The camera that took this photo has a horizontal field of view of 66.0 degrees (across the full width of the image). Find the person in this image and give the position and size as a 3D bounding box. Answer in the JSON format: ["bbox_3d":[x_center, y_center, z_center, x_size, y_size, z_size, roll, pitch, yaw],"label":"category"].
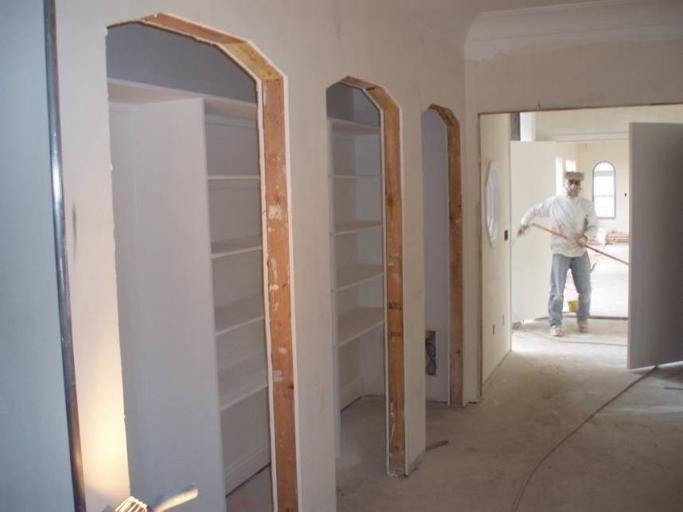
[{"bbox_3d":[2.758,-0.018,6.584,0.723,1.884,0.561,-6,9,-30],"label":"person"}]

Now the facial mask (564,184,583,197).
[{"bbox_3d":[2.896,-0.791,6.522,0.118,0.146,0.161,2,-18,10],"label":"facial mask"}]

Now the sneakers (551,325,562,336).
[{"bbox_3d":[2.633,0.897,6.440,0.128,0.126,0.130,2,9,21],"label":"sneakers"}]

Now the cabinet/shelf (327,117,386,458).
[{"bbox_3d":[0.132,0.197,4.002,0.372,2.309,1.177,-1,8,4],"label":"cabinet/shelf"}]

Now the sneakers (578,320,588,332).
[{"bbox_3d":[3.043,0.873,6.627,0.115,0.141,0.129,-8,4,-44],"label":"sneakers"}]
